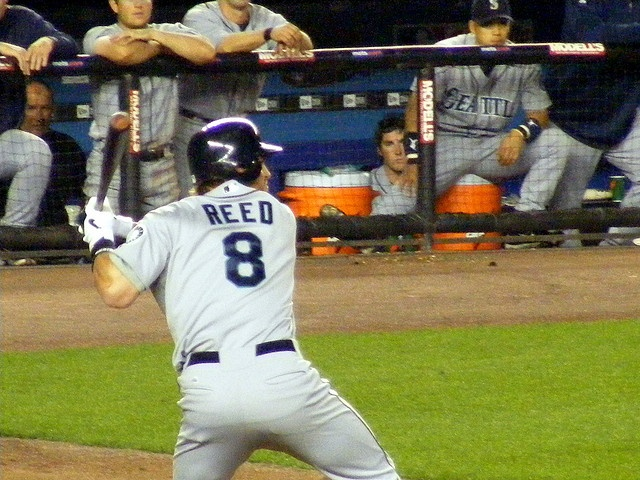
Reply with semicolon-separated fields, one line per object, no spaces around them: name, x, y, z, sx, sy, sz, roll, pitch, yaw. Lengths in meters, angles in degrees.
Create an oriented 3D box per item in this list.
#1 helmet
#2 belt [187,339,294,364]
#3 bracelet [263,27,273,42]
helmet;-0.350;-0.372;6.122;0.615;0.216;0.356;-1;-5;-3
belt;-0.364;0.534;5.791;0.492;0.111;0.072;-1;23;-8
bracelet;-0.373;-1.458;8.770;0.065;0.094;0.110;2;20;-2
